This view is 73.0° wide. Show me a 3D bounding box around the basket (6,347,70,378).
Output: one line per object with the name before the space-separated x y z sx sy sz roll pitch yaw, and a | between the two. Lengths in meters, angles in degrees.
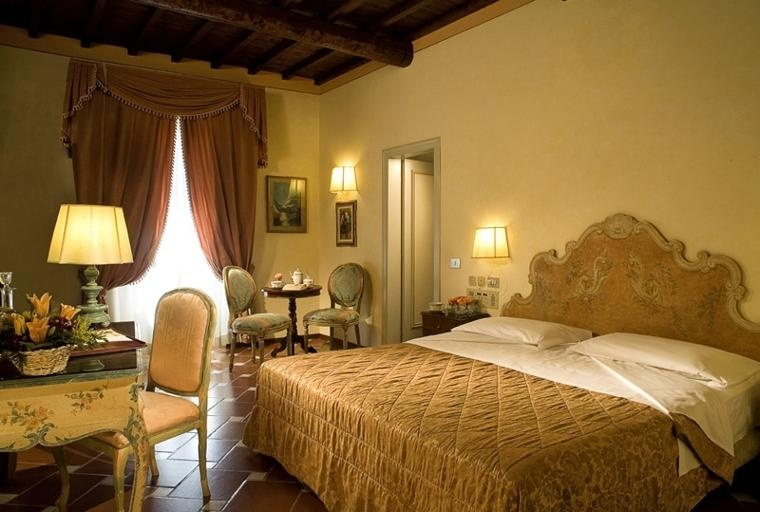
basket | -1.974 0.611 3.031 0.206 0.101 0.217 -2 -9 1

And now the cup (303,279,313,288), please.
cup | -0.952 0.349 6.790 0.123 0.131 0.100 8 -14 -31

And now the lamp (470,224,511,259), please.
lamp | 1.183 -0.115 5.548 0.327 0.383 0.402 0 0 -33

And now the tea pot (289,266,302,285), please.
tea pot | -1.207 0.265 7.243 0.223 0.265 0.158 1 -8 -1

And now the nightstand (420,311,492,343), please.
nightstand | 0.779 0.701 5.713 0.333 0.461 0.457 -1 0 -32

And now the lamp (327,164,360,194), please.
lamp | -0.535 -1.103 7.340 0.536 0.381 0.351 4 10 18

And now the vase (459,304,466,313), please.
vase | 0.906 0.565 5.629 0.061 0.063 0.062 -5 -15 -3
